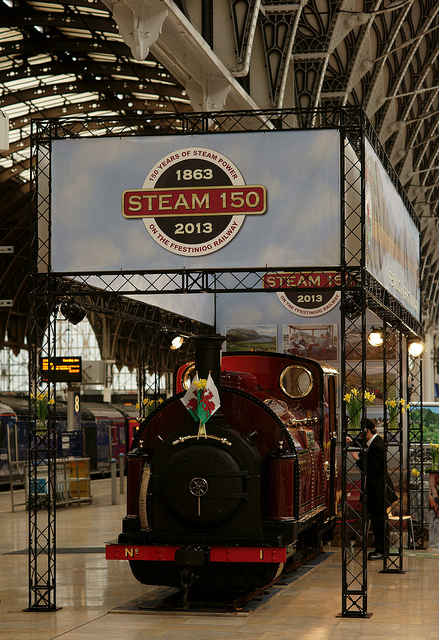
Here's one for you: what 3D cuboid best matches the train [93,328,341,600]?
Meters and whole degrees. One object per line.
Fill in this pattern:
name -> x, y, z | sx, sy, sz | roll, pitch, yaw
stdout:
train -> 0.246, 1.689, 11.098 | 1.806, 2.982, 3.634 | -3, -8, 15

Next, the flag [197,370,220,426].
flag -> -0.125, 0.783, 9.581 | 0.266, 0.700, 0.055 | 3, 23, 4
